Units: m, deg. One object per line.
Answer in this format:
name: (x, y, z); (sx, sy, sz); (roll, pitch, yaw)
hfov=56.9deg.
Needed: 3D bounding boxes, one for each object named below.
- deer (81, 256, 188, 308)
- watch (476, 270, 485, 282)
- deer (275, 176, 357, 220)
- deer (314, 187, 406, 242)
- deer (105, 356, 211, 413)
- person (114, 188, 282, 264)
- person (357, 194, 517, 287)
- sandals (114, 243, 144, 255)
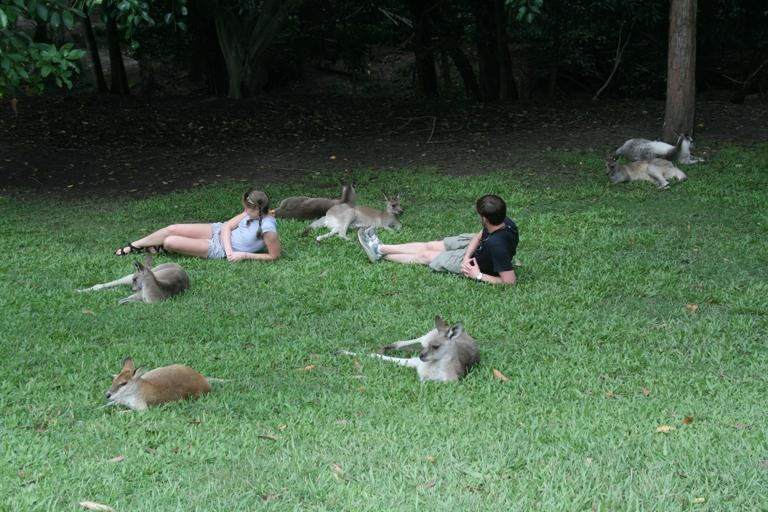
deer: (-3.496, 0.294, 9.917); (1.418, 0.663, 0.886); (4, 22, -6)
watch: (1.378, 0.275, 10.058); (0.075, 0.119, 0.119); (17, -17, 18)
deer: (-1.322, -0.815, 13.075); (1.880, 0.991, 0.563); (-4, -5, -30)
deer: (-0.446, -0.663, 12.217); (1.700, 0.729, 0.914); (-2, 16, -11)
deer: (-2.445, 1.344, 7.687); (1.046, 0.512, 0.313); (-12, 20, -23)
person: (-2.829, -0.510, 11.260); (2.391, 1.009, 1.157); (3, 17, -4)
person: (0.769, -0.397, 10.447); (2.410, 1.367, 1.170); (5, 35, 7)
sandals: (-4.052, -0.118, 11.311); (0.442, 0.180, 0.170); (-1, 5, -11)
